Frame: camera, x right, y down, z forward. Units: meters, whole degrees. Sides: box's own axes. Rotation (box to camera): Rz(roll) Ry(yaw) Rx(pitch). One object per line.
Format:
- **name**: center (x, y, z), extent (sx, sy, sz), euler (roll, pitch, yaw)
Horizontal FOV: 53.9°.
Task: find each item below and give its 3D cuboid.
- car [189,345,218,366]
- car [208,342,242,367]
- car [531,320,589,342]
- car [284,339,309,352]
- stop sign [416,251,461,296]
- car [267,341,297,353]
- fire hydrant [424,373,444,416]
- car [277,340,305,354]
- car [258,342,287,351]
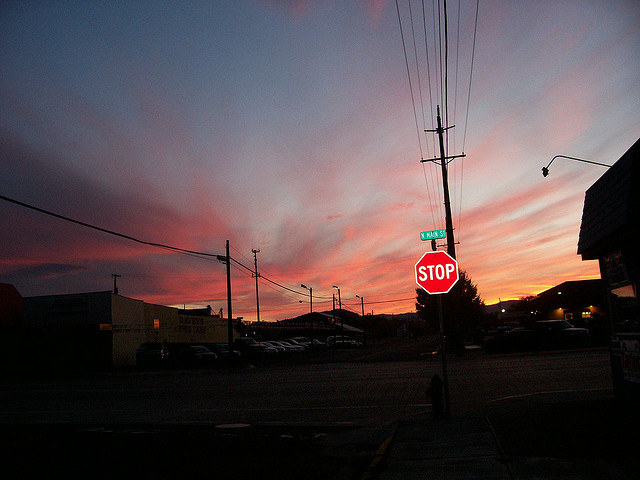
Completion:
- **car**: center (-9.117, 9.010, 48.504), extent (2.136, 1.361, 2.173), euler (0, -7, -28)
- **car**: center (-8.056, 9.506, 52.813), extent (1.726, 1.465, 2.869), euler (5, -16, -42)
- **car**: center (14.618, 5.591, 38.371), extent (2.236, 1.061, 1.286), euler (-10, -8, 40)
- **car**: center (-2.567, 11.525, 69.488), extent (2.291, 0.797, 1.093), euler (-2, -4, 17)
- **stop sign**: center (3.160, 0.862, 17.055), extent (1.225, 1.198, 0.127), euler (-7, -5, 29)
- **car**: center (-3.968, 10.852, 63.472), extent (2.531, 0.875, 1.200), euler (-2, -4, 9)
- **fire hydrant**: center (3.211, 4.338, 17.607), extent (0.486, 1.177, 1.322), euler (-4, -6, 8)
- **car**: center (-3.138, 11.295, 66.273), extent (2.526, 0.879, 1.190), euler (4, -7, 9)
- **car**: center (-4.654, 10.655, 61.367), extent (2.385, 0.828, 1.093), euler (5, -7, 5)
